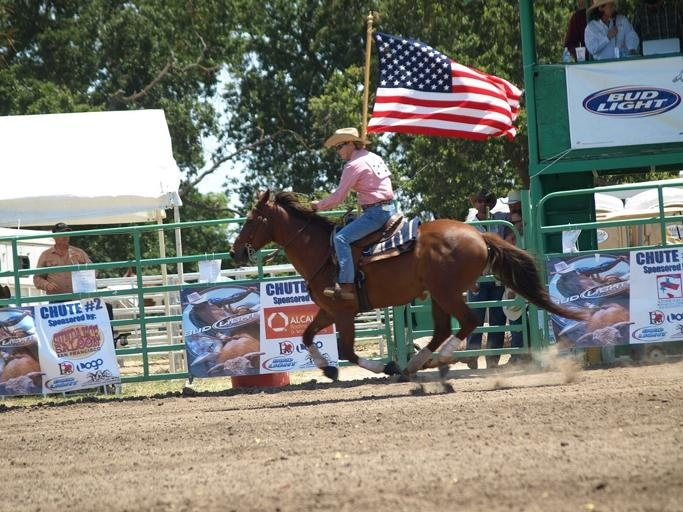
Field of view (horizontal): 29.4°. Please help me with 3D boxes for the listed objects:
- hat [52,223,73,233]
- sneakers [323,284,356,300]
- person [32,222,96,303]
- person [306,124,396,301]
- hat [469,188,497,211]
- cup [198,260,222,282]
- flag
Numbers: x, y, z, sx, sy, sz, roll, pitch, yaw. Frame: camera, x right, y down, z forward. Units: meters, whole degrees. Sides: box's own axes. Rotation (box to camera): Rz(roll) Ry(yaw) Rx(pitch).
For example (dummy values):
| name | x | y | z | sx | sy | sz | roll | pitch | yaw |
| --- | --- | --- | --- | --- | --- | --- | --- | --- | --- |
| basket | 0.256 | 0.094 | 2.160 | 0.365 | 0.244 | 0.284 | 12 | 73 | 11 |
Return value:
| name | x | y | z | sx | sy | sz | roll | pitch | yaw |
| --- | --- | --- | --- | --- | --- | --- | --- | --- | --- |
| hat | -5.301 | -0.544 | 24.670 | 0.278 | 0.221 | 0.414 | -2 | -3 | -29 |
| sneakers | -0.042 | 0.587 | 21.837 | 0.436 | 0.186 | 0.254 | -1 | -2 | 19 |
| person | -5.222 | 0.081 | 24.059 | 0.949 | 1.496 | 1.118 | -6 | -3 | 26 |
| person | 0.244 | -0.749 | 22.034 | 1.278 | 2.914 | 0.540 | -4 | -3 | 0 |
| hat | 2.671 | -1.080 | 24.698 | 0.469 | 0.500 | 0.163 | -1 | 12 | -2 |
| cup | -2.379 | 0.247 | 23.507 | 0.394 | 0.413 | 0.395 | -4 | -3 | 0 |
| flag | 1.993 | -3.002 | 24.446 | 2.667 | 1.682 | 0.781 | 6 | -16 | -10 |
